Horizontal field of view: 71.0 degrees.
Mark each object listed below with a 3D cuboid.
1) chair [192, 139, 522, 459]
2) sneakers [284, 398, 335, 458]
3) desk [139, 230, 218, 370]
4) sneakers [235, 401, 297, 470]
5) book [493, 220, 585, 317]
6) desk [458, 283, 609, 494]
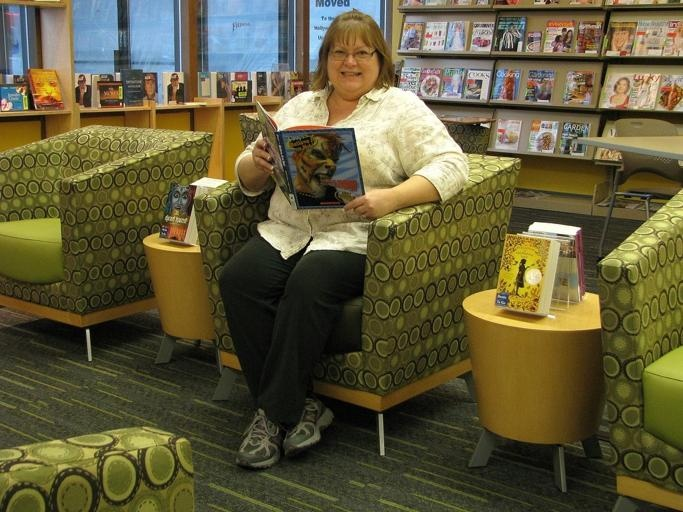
[{"bbox_3d":[0.166,-0.062,2.219,1.134,1.086,1.205,5,11,35],"label":"chair"},{"bbox_3d":[-0.119,0.621,1.758,0.093,0.117,0.239,-3,21,29],"label":"sneakers"},{"bbox_3d":[-0.748,0.207,2.410,0.467,0.578,0.468,-4,7,-23],"label":"desk"},{"bbox_3d":[-0.284,0.645,1.701,0.139,0.151,0.157,2,15,4],"label":"sneakers"},{"bbox_3d":[0.639,-0.013,1.660,0.293,0.385,0.312,-8,11,-42],"label":"book"},{"bbox_3d":[0.639,0.472,1.649,0.428,0.461,0.416,4,-9,15],"label":"desk"}]
